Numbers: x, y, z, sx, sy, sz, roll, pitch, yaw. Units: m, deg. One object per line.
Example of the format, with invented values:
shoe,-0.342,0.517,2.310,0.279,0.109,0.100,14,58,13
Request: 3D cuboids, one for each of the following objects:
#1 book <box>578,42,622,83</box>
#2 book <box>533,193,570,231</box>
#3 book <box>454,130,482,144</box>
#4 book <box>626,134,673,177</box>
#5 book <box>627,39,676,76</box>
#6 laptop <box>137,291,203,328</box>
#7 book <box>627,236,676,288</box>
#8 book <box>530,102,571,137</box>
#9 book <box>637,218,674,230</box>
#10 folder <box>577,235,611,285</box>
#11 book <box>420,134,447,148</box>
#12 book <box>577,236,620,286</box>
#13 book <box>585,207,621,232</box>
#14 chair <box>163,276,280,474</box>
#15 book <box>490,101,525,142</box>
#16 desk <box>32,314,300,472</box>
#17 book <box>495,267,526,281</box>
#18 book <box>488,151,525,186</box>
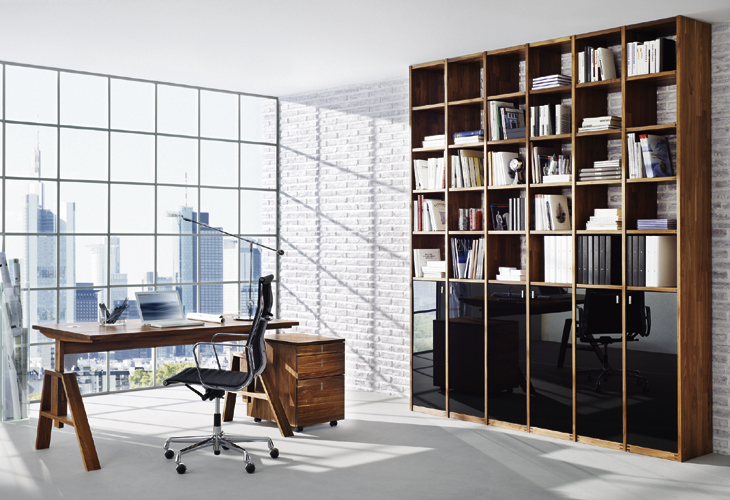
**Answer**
book,2.108,-1.574,6.002,0.334,0.431,0.471,2,3,26
book,1.693,-0.333,6.050,0.354,0.307,0.195,-1,0,-27
book,1.005,-1.085,6.452,0.182,0.042,0.188,0,2,44
book,2.370,-0.783,5.570,0.394,0.351,0.216,-3,-1,-40
book,2.384,-1.604,5.548,0.367,0.294,0.122,2,4,17
laptop,-1.750,0.534,5.994,0.493,0.261,0.512,5,2,30
book,2.384,0.098,5.640,0.540,0.487,0.386,0,0,-38
book,1.750,-1.203,6.141,0.408,0.369,0.294,0,0,-38
book,2.407,-0.209,5.502,0.291,0.092,0.113,2,5,25
folder,1.929,0.081,5.868,0.380,0.486,0.367,0,0,10
book,0.695,-1.083,6.674,0.156,0.097,0.210,-2,2,-39
book,2.021,0.082,5.767,0.371,0.426,0.122,2,5,18
book,2.063,-0.259,5.738,0.282,0.184,0.135,2,4,17
chair,-1.243,1.028,5.586,1.023,1.442,0.922,-1,-6,5
book,1.338,-1.225,6.239,0.385,0.359,0.089,-3,-2,-19
desk,-1.869,1.317,6.386,1.162,1.111,2.403,-9,-9,33
book,1.373,0.201,6.199,0.145,0.087,0.187,1,-1,-39
book,1.331,-0.758,6.296,0.377,0.337,0.194,-1,0,-30
